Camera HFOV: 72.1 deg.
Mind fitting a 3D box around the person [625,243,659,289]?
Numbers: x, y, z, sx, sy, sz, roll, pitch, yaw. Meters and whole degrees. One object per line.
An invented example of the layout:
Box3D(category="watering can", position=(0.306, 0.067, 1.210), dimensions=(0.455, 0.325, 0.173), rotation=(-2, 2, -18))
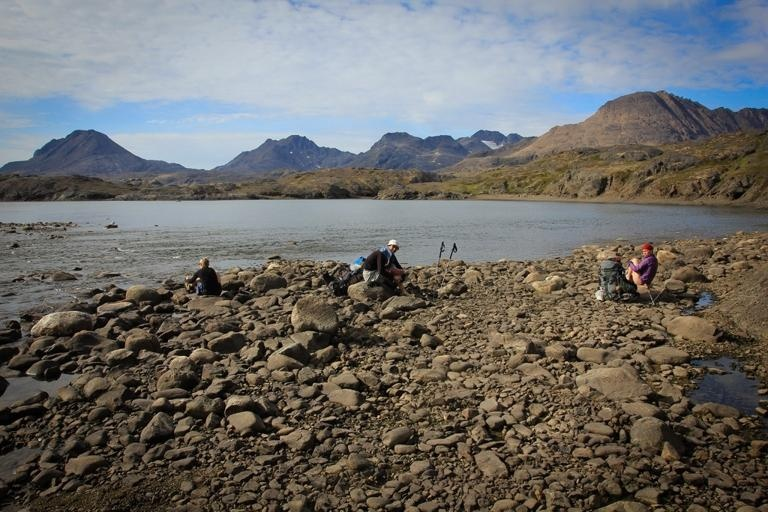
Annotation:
Box3D(category="person", position=(13.855, 0.515, 28.313), dimensions=(1.257, 2.363, 1.215), rotation=(2, 14, 8))
